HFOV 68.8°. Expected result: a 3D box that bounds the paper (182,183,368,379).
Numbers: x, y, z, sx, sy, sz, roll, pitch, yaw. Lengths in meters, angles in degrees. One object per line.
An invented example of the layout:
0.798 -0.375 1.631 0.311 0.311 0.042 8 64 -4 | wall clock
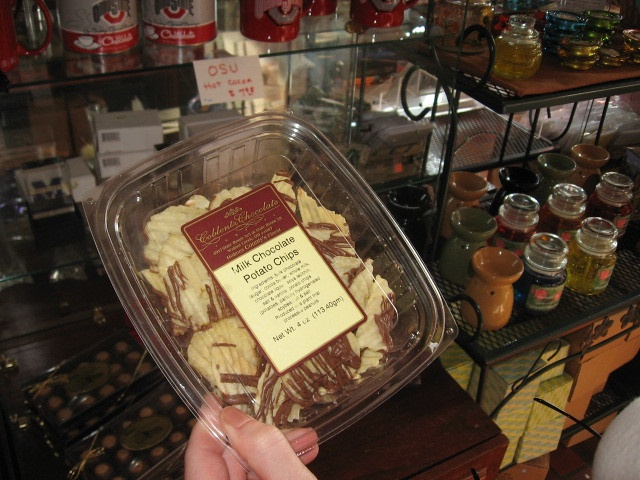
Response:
-0.070 0.048 0.692 0.193 0.304 0.072 -33 -3 -14 | paper

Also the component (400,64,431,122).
0.242 -0.388 1.227 0.077 0.143 0.017 11 37 36 | component

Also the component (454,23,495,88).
0.349 -0.419 1.104 0.132 0.158 0.038 -16 8 -36 | component

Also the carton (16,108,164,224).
-0.451 -0.146 0.903 0.259 0.143 0.080 -23 57 -18 | carton

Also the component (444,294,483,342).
0.335 0.169 1.083 0.095 0.097 0.036 -24 2 32 | component
